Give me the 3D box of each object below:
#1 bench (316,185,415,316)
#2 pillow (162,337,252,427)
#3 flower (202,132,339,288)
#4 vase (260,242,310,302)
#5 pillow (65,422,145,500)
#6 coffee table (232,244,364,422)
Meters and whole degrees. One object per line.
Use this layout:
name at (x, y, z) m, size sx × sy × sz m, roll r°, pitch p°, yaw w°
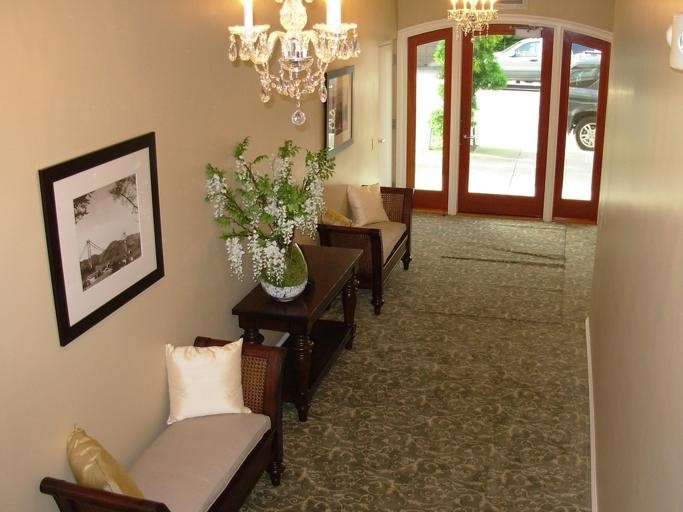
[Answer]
bench at (0.255, -0.045, 6.212) m, size 0.571 × 0.884 × 1.335 m, roll 4°, pitch 28°, yaw 14°
pillow at (-0.926, 0.884, 3.703) m, size 0.554 × 0.551 × 0.198 m, roll -5°, pitch -3°, yaw -13°
flower at (-0.526, -0.363, 4.580) m, size 0.815 × 1.288 × 1.434 m, roll 1°, pitch 16°, yaw 11°
vase at (-0.437, 0.118, 4.546) m, size 0.436 × 0.640 × 0.437 m, roll -5°, pitch 37°, yaw -7°
pillow at (-1.288, 1.132, 2.866) m, size 0.454 × 0.342 × 0.230 m, roll 8°, pitch 19°, yaw 31°
coffee table at (-0.381, 0.654, 4.526) m, size 0.553 × 0.853 × 1.188 m, roll 6°, pitch 27°, yaw 13°
